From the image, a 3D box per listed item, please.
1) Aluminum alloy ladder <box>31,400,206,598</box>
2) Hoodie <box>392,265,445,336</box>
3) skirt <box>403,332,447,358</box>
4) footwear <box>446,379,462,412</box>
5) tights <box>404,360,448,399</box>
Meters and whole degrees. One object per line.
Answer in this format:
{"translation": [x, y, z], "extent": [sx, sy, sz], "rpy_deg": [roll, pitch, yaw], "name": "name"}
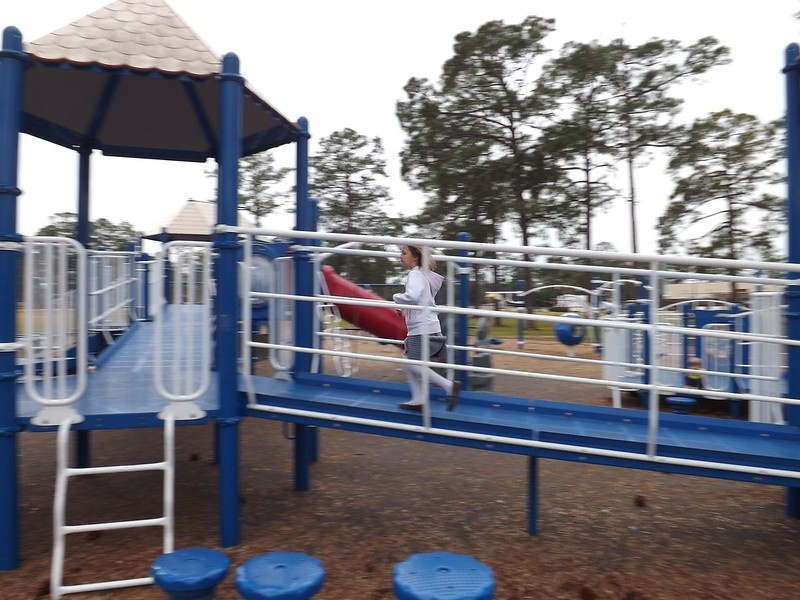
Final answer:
{"translation": [-2.312, 1.649, 6.504], "extent": [1.016, 1.277, 0.686], "rpy_deg": [-2, 12, -13], "name": "Aluminum alloy ladder"}
{"translation": [0.149, -0.033, 7.257], "extent": [0.428, 0.390, 0.392], "rpy_deg": [-2, -6, 30], "name": "Hoodie"}
{"translation": [0.250, 0.427, 7.385], "extent": [0.383, 0.133, 0.241], "rpy_deg": [0, 0, -17], "name": "skirt"}
{"translation": [0.478, 0.834, 7.070], "extent": [0.162, 0.264, 0.109], "rpy_deg": [7, 1, 6], "name": "footwear"}
{"translation": [0.332, 0.737, 7.122], "extent": [0.455, 0.337, 0.136], "rpy_deg": [0, -14, 41], "name": "tights"}
